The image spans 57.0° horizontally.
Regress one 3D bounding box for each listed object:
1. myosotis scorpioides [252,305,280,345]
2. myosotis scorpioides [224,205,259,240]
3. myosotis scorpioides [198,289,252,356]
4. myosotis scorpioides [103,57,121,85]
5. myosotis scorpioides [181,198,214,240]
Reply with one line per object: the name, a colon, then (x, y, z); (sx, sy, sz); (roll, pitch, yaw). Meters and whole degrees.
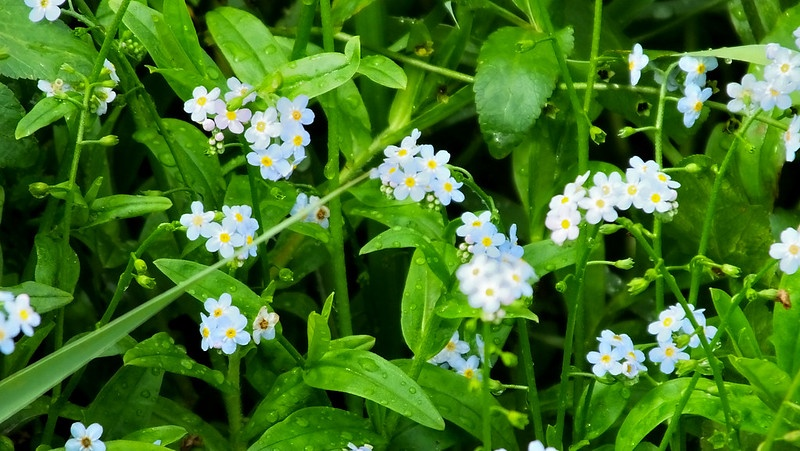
myosotis scorpioides: (-0.237, 0.170, 1.288); (0.043, 0.069, 0.038); (3, 10, -10)
myosotis scorpioides: (-0.280, -0.012, 1.306); (0.067, 0.077, 0.017); (15, -40, -28)
myosotis scorpioides: (-0.302, 0.174, 1.281); (0.087, 0.111, 0.072); (3, 10, -13)
myosotis scorpioides: (-0.524, -0.286, 1.363); (0.029, 0.036, 0.115); (-1, 12, -14)
myosotis scorpioides: (-0.354, -0.011, 1.291); (0.059, 0.019, 0.063); (-23, -39, 11)
